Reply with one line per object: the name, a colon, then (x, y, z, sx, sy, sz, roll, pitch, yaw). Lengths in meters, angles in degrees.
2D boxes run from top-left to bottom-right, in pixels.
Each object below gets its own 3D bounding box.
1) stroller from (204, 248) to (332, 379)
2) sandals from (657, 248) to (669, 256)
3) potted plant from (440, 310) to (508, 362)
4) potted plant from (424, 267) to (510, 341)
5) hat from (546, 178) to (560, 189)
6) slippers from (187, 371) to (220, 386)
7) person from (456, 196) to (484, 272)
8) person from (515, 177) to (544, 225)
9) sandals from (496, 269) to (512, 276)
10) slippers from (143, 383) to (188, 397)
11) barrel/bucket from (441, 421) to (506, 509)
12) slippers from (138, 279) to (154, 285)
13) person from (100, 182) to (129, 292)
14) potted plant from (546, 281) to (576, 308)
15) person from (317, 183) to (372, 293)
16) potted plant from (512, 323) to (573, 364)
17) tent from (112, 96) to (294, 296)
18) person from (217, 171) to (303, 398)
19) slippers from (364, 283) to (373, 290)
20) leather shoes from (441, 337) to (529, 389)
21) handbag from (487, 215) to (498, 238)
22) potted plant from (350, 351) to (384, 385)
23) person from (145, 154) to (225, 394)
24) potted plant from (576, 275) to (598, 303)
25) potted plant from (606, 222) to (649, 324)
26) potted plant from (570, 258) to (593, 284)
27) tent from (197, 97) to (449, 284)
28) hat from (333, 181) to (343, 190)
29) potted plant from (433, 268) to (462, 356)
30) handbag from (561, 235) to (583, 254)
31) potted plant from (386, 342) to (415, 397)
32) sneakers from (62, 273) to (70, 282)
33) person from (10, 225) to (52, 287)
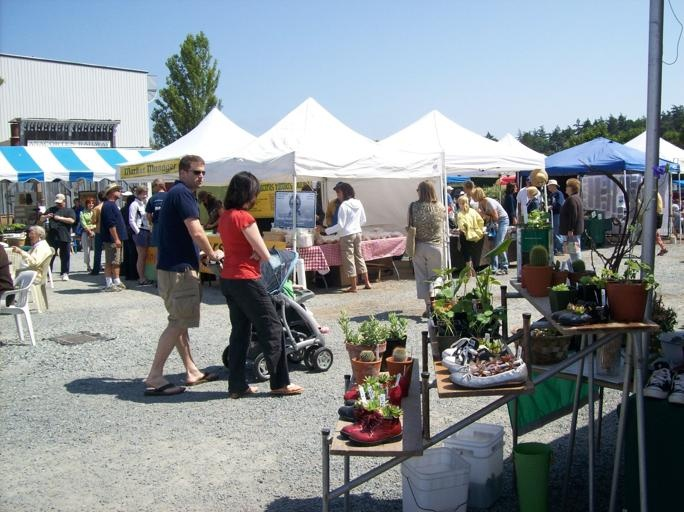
stroller: (-1.008, 0.555, 6.795, 1.319, 1.774, 1.027, -3, 6, -25)
sandals: (8.199, -0.082, 15.708, 0.106, 0.160, 0.353, -3, 9, 13)
potted plant: (0.831, 0.477, 3.832, 0.411, 0.164, 0.233, -9, 14, -22)
potted plant: (0.843, 0.333, 4.032, 0.503, 0.435, 0.554, 2, 0, -35)
hat: (5.098, -1.720, 14.757, 0.493, 0.288, 0.499, 6, 9, 24)
slippers: (-1.439, 1.268, 6.327, 0.253, 0.074, 0.114, -8, 7, -40)
person: (2.415, -0.389, 11.519, 0.450, 1.422, 1.031, -2, 4, 14)
person: (3.890, -1.140, 12.956, 0.527, 0.392, 1.389, -7, -38, 1)
sandals: (3.259, 0.349, 12.519, 0.130, 0.186, 0.398, 0, -1, 40)
slippers: (-1.735, 1.309, 6.018, 0.289, 0.100, 0.164, 0, 0, -4)
barrel/bucket: (0.867, 1.399, 4.097, 0.415, 0.456, 0.451, -1, 1, 0)
slippers: (-3.976, 0.556, 12.547, 0.404, 0.193, 0.143, -4, -2, 30)
person: (-4.476, -0.356, 12.051, 0.442, 2.054, 0.659, -4, 4, -15)
potted plant: (1.344, 0.256, 3.755, 0.148, 0.151, 0.225, -2, 5, 17)
person: (0.121, -0.340, 11.215, 0.690, 1.979, 0.898, -3, 4, 7)
potted plant: (1.358, 0.604, 4.135, 0.314, 0.187, 0.337, -1, 4, 2)
tent: (-2.550, -1.765, 14.329, 4.304, 4.536, 4.277, 2, 4, 43)
person: (-0.823, 0.302, 5.701, 0.664, 2.129, 0.458, -3, 4, 1)
slippers: (0.508, 0.587, 11.490, 0.072, 0.157, 0.149, -1, -6, -29)
leather shoes: (0.785, 0.610, 3.433, 0.287, 0.114, 0.282, 1, 6, -10)
handbag: (3.039, -0.538, 12.473, 0.111, 0.400, 0.234, -5, 4, -25)
potted plant: (0.160, 0.759, 4.149, 0.200, 0.170, 0.215, 0, -2, 5)
person: (-1.522, 0.196, 5.932, 0.821, 2.290, 0.435, -1, 4, 25)
potted plant: (1.439, 0.202, 3.593, 0.125, 0.138, 0.195, -2, 5, 21)
potted plant: (1.674, 0.194, 3.578, 0.245, 0.332, 0.404, -1, 5, 34)
potted plant: (1.554, 0.101, 3.987, 0.135, 0.109, 0.179, -1, 0, 4)
tent: (-0.044, -1.903, 11.983, 3.674, 2.623, 3.960, -4, 10, -25)
hat: (-0.054, -1.232, 10.988, 0.150, 0.141, 0.268, -4, 5, 0)
potted plant: (0.699, 0.356, 4.125, 0.187, 0.281, 0.610, -1, 4, 3)
handbag: (3.741, -0.197, 10.099, 0.369, 0.384, 0.654, 5, 6, 27)
potted plant: (0.370, 0.692, 3.821, 0.207, 0.369, 0.231, -1, 3, -5)
sneakers: (-6.101, 0.474, 13.603, 0.113, 0.131, 0.280, -1, -2, -16)
person: (-4.957, 0.158, 10.020, 0.593, 1.289, 0.565, -3, 6, -15)
